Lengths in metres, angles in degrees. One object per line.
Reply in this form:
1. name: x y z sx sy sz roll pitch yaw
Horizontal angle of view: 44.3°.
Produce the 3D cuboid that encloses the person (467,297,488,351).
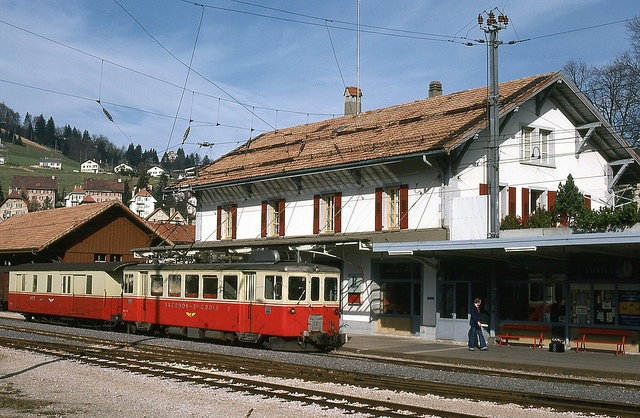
1. person: 7.132 5.282 36.131 0.735 2.300 1.335 2 8 11
